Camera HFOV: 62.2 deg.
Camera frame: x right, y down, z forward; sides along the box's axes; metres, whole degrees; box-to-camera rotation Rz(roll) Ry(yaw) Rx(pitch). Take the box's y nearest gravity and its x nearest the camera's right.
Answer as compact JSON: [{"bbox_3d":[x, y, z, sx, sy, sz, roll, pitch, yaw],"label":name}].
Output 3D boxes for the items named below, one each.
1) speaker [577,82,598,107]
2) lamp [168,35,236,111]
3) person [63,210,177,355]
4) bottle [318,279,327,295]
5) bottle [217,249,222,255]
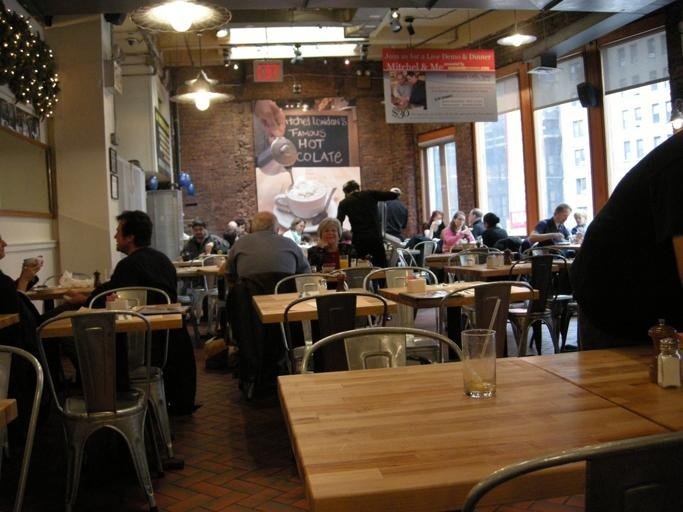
[{"bbox_3d":[4.332,-2.872,10.025,0.290,0.446,0.248,-8,7,-29],"label":"speaker"},{"bbox_3d":[-2.237,-2.805,8.959,0.992,0.928,1.019,-10,13,-38],"label":"lamp"},{"bbox_3d":[-1.643,0.061,4.365,0.703,0.783,0.518,8,18,6],"label":"person"},{"bbox_3d":[-0.150,0.228,4.223,0.088,0.140,0.080,-1,-7,0],"label":"bottle"},{"bbox_3d":[-2.006,-0.075,9.233,0.091,0.130,0.083,-4,-17,-1],"label":"bottle"}]
